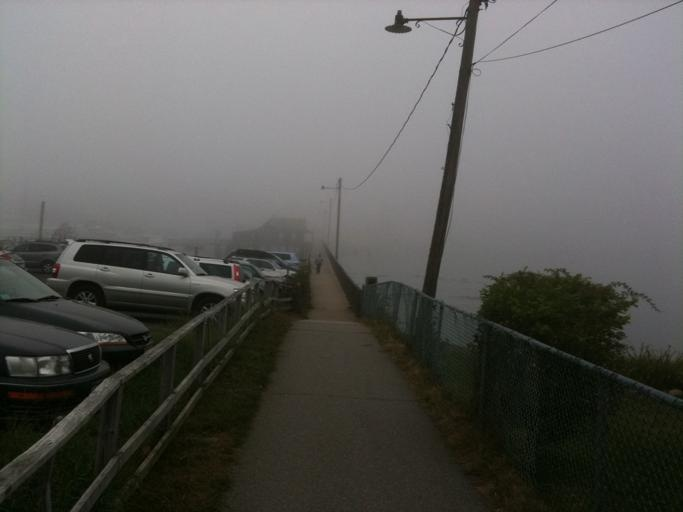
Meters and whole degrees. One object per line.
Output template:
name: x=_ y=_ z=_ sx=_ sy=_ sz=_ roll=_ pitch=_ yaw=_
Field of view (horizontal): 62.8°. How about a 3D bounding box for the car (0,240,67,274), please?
car: x=-12.179 y=0.002 z=22.337 sx=2.607 sy=1.239 sz=1.323 roll=4 pitch=0 yaw=1
